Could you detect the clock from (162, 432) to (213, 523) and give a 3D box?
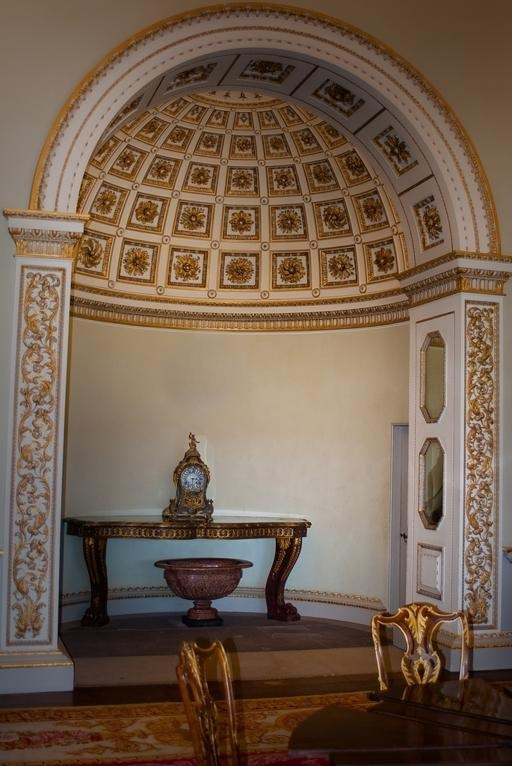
[{"bbox_3d":[-0.729,1.022,7.160,0.529,0.935,0.412,3,-10,-7],"label":"clock"}]

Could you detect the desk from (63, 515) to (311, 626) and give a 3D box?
[{"bbox_3d":[-0.697,1.988,7.039,2.579,1.103,0.880,5,-3,-15],"label":"desk"}]
